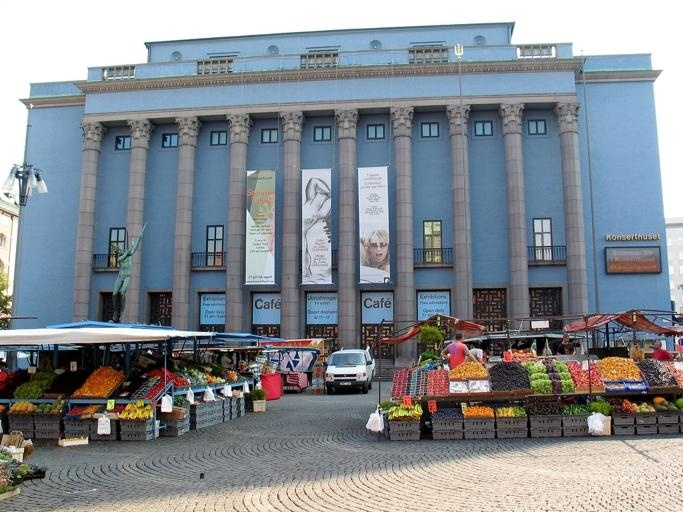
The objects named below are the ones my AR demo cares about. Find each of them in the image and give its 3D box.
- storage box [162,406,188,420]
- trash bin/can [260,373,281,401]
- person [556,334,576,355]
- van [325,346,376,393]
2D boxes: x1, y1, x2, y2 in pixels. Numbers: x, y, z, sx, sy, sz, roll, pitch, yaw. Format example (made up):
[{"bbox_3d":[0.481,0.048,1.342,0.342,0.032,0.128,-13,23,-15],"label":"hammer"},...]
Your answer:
[{"bbox_3d":[-4.961,4.692,19.647,0.506,0.178,0.383,-3,-2,6],"label":"storage box"},{"bbox_3d":[-3.149,5.776,29.024,0.760,0.912,1.308,-6,-7,20],"label":"trash bin/can"},{"bbox_3d":[8.839,3.469,25.953,0.590,0.602,1.757,-2,2,18],"label":"person"},{"bbox_3d":[0.345,5.716,31.935,2.292,1.936,2.380,-2,1,-2],"label":"van"}]
